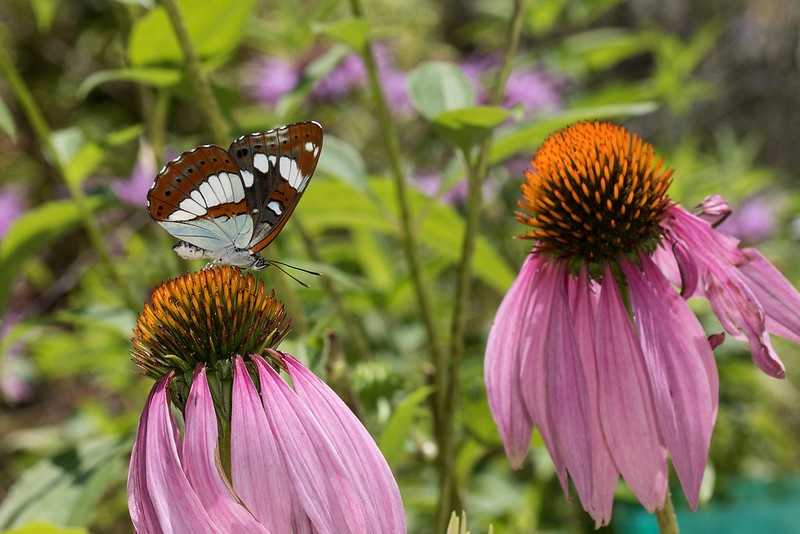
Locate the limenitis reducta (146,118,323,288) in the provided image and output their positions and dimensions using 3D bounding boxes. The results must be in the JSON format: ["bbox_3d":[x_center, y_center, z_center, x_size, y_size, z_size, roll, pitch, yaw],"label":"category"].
[{"bbox_3d":[-0.272,-0.118,1.352,0.232,0.279,0.200,-7,15,9],"label":"limenitis reducta"}]

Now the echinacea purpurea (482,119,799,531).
[{"bbox_3d":[0.410,0.085,1.313,0.471,0.598,0.405,6,22,32],"label":"echinacea purpurea"}]
